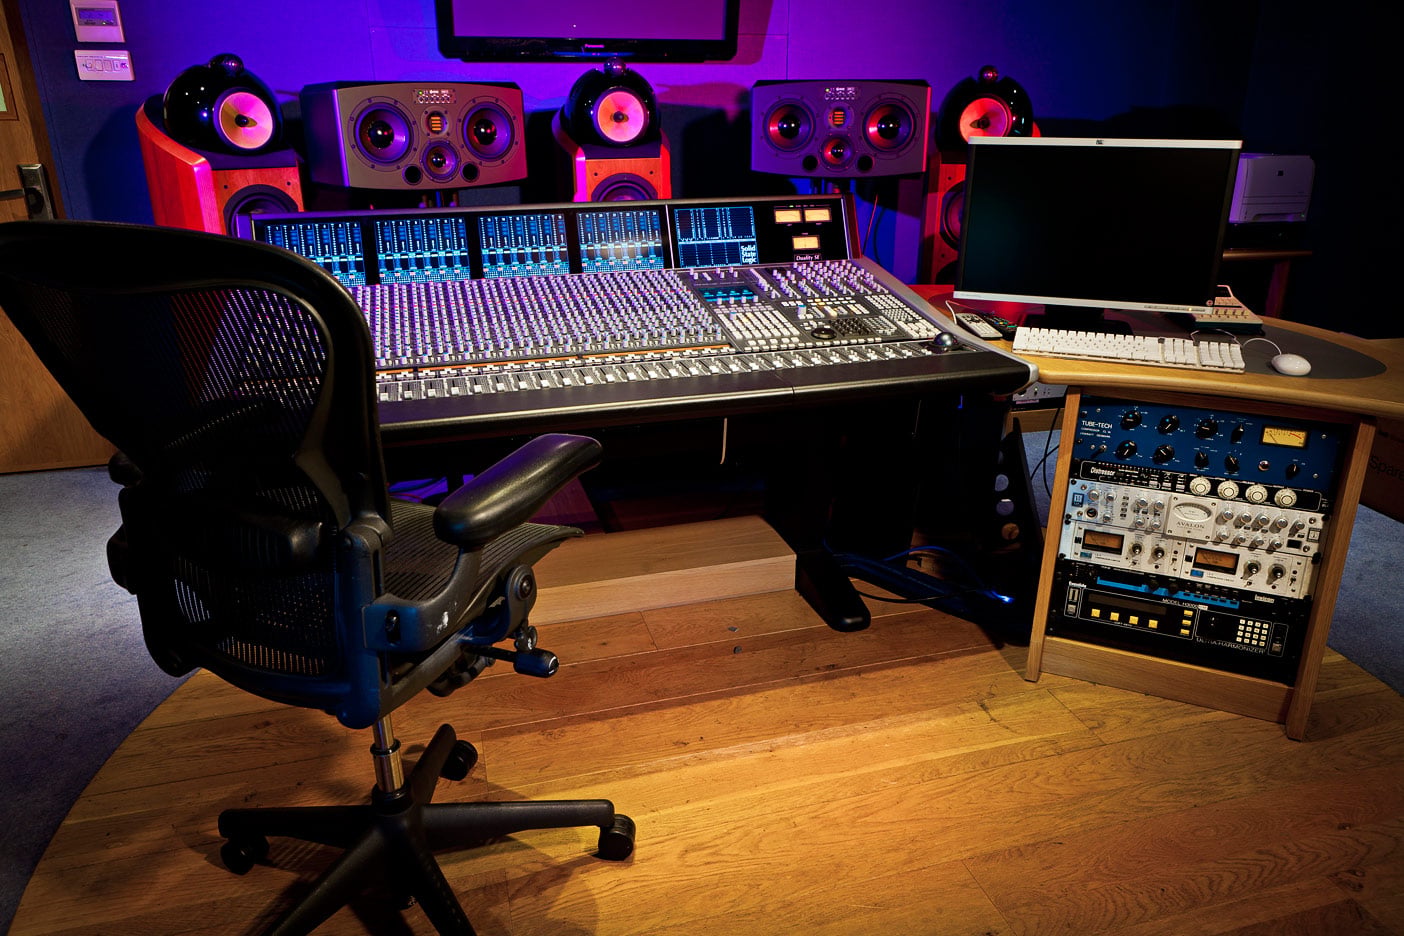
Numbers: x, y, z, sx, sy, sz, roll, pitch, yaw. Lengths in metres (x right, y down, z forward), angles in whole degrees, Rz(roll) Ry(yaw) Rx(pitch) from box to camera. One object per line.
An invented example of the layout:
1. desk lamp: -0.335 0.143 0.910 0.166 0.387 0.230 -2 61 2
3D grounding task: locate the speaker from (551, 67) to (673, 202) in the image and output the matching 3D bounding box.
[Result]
1. speaker: -0.372 -1.361 3.838 0.423 0.490 0.321 -7 25 -7

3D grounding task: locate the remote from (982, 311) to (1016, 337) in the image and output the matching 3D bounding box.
1. remote: 0.895 -0.439 2.861 0.092 0.021 0.100 33 32 26

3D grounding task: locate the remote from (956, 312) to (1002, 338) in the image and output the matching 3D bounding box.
1. remote: 0.823 -0.438 2.828 0.075 0.022 0.116 -3 27 -11

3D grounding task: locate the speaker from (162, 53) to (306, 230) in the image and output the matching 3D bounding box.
1. speaker: -1.790 -1.196 3.476 0.524 0.593 0.304 -10 26 -13

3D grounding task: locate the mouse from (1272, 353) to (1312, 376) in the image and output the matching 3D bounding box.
1. mouse: 1.617 -0.284 2.580 0.111 0.046 0.086 4 24 16

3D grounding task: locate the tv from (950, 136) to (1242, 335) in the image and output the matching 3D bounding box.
1. tv: 1.158 -0.682 2.791 0.785 0.475 0.072 5 15 9
